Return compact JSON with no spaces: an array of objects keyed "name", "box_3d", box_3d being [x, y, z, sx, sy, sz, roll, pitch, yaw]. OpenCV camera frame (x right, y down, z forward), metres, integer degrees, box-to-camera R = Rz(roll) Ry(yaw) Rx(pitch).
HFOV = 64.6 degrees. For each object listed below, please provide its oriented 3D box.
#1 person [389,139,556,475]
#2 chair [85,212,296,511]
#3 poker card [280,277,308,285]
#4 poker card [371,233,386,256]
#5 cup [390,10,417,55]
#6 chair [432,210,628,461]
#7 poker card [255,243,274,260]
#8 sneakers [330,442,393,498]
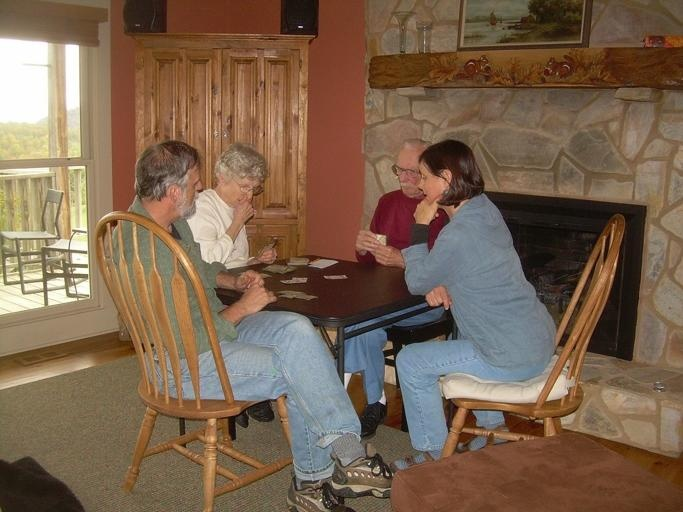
[{"name":"person","box_3d":[0.592,0.242,2.353,0.754,1.402,0.539,-1,10,22]},{"name":"chair","box_3d":[-0.611,0.432,2.169,0.520,1.258,0.645,-13,18,-43]},{"name":"poker card","box_3d":[-0.215,0.112,2.417,0.116,0.010,0.087,-1,7,2]},{"name":"poker card","box_3d":[0.198,-0.076,2.742,0.068,0.064,0.020,3,-8,-40]},{"name":"cup","box_3d":[0.419,-1.505,3.649,0.134,0.304,0.277,1,13,5]},{"name":"chair","box_3d":[0.764,0.318,2.125,0.745,0.945,0.339,-6,15,-27]},{"name":"poker card","box_3d":[-0.380,-0.037,2.720,0.104,0.048,0.063,-34,-37,27]},{"name":"sneakers","box_3d":[0.082,0.793,2.019,0.296,0.146,0.114,2,7,19]}]
